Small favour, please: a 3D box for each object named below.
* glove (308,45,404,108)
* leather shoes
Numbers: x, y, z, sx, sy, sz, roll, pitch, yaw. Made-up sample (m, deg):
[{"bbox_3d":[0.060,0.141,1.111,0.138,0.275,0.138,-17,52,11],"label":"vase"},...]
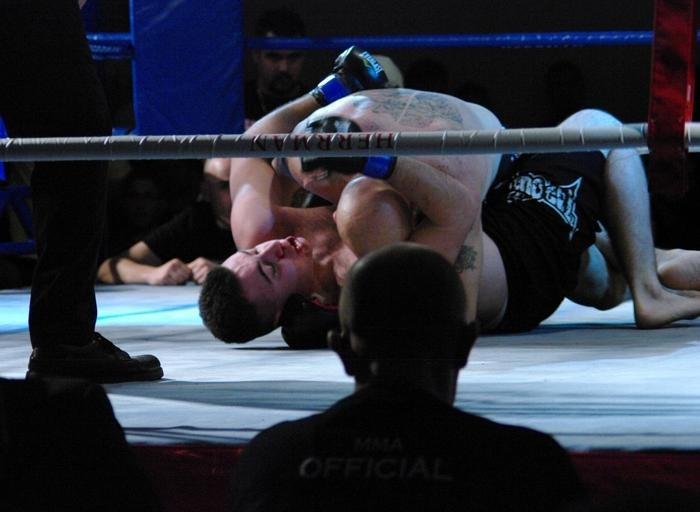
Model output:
[{"bbox_3d":[0.068,-0.574,2.756,0.319,0.120,0.186,-19,52,-6],"label":"glove"},{"bbox_3d":[-0.576,0.257,2.066,0.455,0.125,0.139,2,-3,-16],"label":"leather shoes"}]
